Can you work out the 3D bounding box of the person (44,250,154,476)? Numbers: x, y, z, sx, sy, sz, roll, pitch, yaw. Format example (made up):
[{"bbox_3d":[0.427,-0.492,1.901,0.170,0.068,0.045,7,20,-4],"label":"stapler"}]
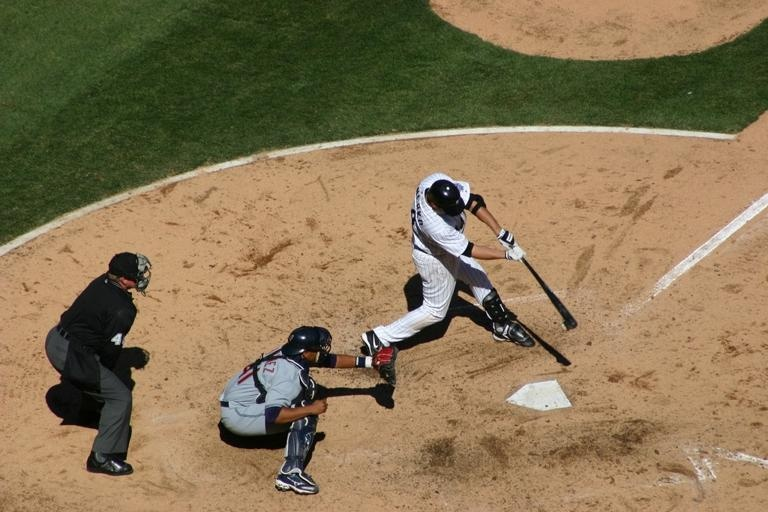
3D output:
[{"bbox_3d":[-4.613,1.653,17.975,1.255,1.329,3.361,2,67,10],"label":"person"}]

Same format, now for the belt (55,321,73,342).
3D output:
[{"bbox_3d":[-5.118,1.205,17.787,0.315,0.270,0.097,40,86,-4],"label":"belt"}]
